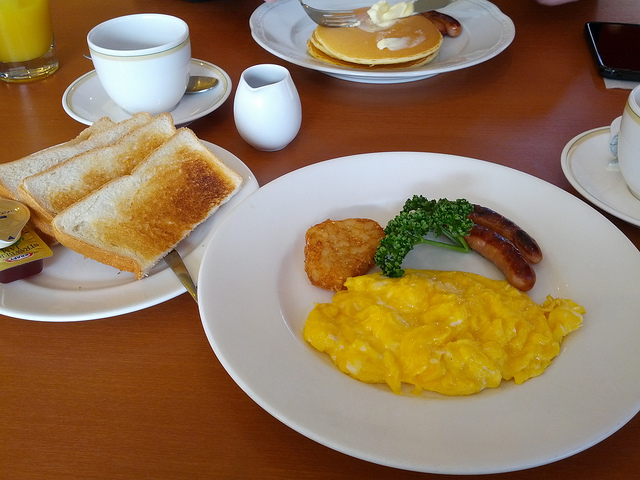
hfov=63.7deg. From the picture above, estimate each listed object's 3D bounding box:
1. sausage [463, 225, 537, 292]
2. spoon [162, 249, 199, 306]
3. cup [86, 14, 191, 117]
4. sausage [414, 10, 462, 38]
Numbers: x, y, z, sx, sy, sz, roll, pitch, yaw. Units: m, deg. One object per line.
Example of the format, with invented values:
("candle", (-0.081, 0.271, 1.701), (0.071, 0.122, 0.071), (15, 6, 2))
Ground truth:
("sausage", (0.525, 0.055, 1.487), (0.053, 0.051, 0.182), (-24, 37, -6))
("spoon", (-0.402, 0.111, 1.459), (0.028, 0.029, 0.252), (-31, 38, -6))
("cup", (-0.712, -0.688, 2.059), (0.377, 0.302, 0.375), (2, 41, -2))
("sausage", (0.594, -1.048, 2.520), (0.202, 0.042, 0.117), (32, 80, 21))
